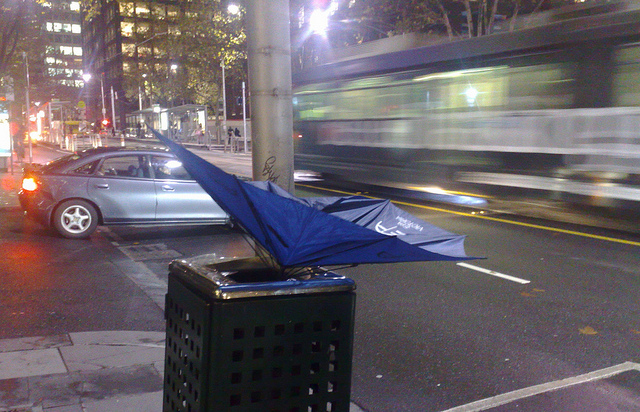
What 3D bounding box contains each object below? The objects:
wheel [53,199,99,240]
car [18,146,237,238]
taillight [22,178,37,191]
[{"bbox_3d":[-5.219,0.279,10.638,0.915,0.932,0.320,7,11,-10],"label":"wheel"},{"bbox_3d":[-4.459,-0.317,10.941,5.771,1.912,2.448,-1,3,-19],"label":"car"},{"bbox_3d":[-6.073,-0.427,10.396,0.262,0.266,0.072,9,-9,24],"label":"taillight"}]
